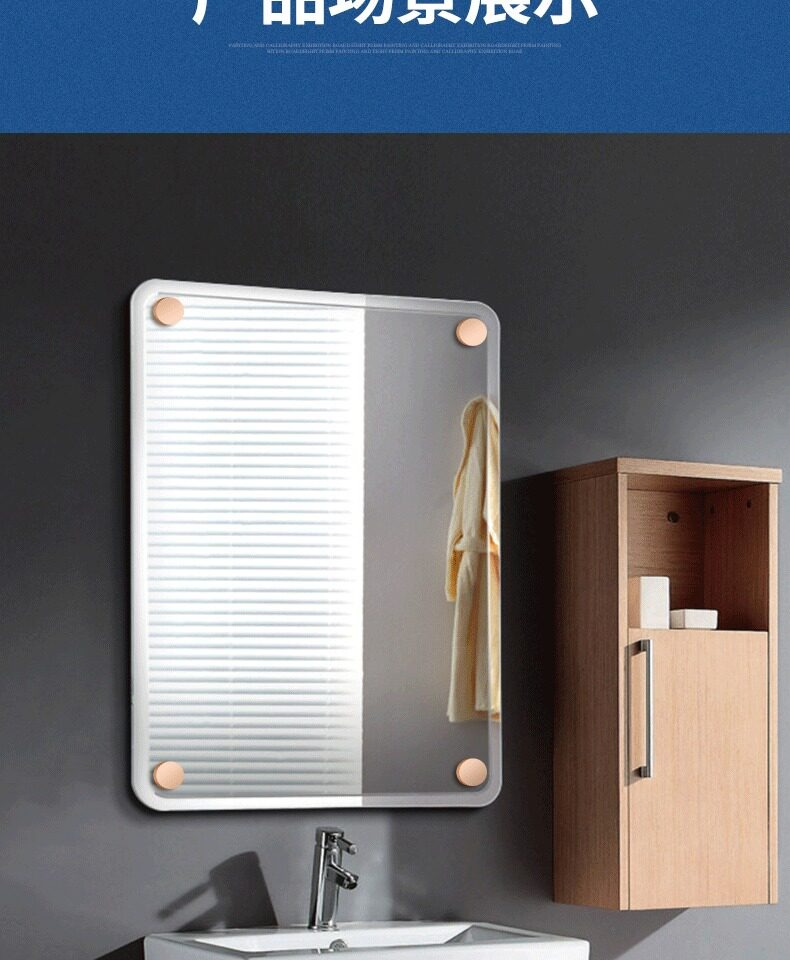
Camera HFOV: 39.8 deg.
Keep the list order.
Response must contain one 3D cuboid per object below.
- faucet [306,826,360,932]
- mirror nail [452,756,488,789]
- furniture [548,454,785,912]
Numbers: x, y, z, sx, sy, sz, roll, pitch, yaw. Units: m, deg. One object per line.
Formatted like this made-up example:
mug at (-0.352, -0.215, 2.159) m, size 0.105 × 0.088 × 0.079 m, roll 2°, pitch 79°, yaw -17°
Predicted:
faucet at (-0.098, 0.628, 1.709) m, size 0.060 × 0.153 × 0.121 m, roll 2°, pitch -12°, yaw -11°
mirror nail at (0.134, 0.518, 1.921) m, size 0.060 × 0.055 × 0.016 m, roll 6°, pitch -13°, yaw -24°
furniture at (0.471, 0.351, 1.902) m, size 0.331 × 0.749 × 0.297 m, roll 3°, pitch -12°, yaw -14°
